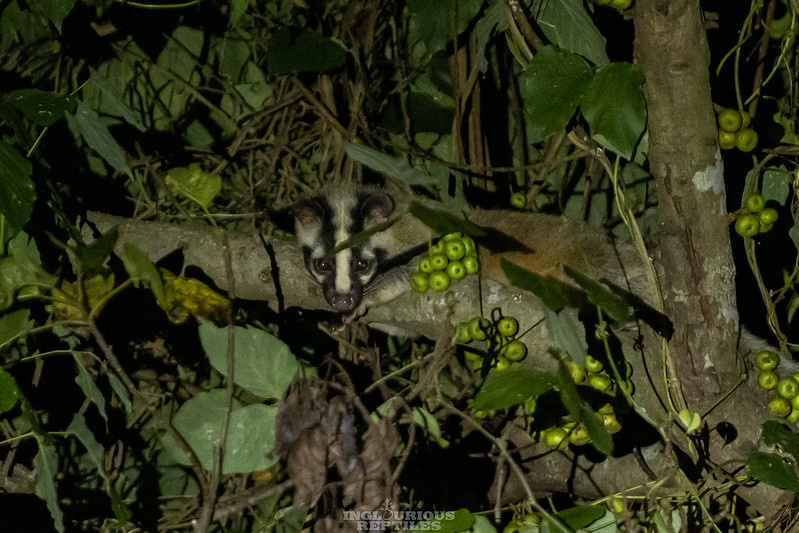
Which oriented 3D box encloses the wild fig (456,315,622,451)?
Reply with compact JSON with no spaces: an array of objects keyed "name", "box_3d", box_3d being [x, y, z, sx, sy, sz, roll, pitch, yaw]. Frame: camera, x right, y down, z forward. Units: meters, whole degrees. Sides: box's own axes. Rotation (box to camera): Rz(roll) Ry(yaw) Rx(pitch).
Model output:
[{"name":"wild fig","box_3d":[0.780,0.662,6.061,0.612,0.950,1.049,-1,-3,-11]}]
